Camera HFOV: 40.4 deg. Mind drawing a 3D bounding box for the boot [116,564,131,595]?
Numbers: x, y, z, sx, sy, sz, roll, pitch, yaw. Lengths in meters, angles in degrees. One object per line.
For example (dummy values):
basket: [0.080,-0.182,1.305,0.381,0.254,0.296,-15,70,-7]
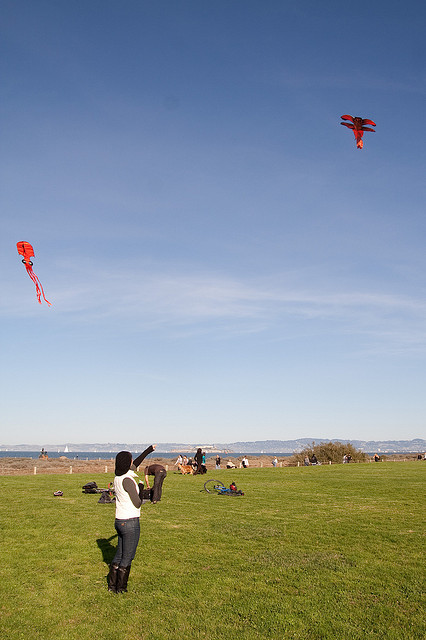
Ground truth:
boot: [-1.672,4.714,10.578,0.239,0.542,0.422,-2,-12,-11]
